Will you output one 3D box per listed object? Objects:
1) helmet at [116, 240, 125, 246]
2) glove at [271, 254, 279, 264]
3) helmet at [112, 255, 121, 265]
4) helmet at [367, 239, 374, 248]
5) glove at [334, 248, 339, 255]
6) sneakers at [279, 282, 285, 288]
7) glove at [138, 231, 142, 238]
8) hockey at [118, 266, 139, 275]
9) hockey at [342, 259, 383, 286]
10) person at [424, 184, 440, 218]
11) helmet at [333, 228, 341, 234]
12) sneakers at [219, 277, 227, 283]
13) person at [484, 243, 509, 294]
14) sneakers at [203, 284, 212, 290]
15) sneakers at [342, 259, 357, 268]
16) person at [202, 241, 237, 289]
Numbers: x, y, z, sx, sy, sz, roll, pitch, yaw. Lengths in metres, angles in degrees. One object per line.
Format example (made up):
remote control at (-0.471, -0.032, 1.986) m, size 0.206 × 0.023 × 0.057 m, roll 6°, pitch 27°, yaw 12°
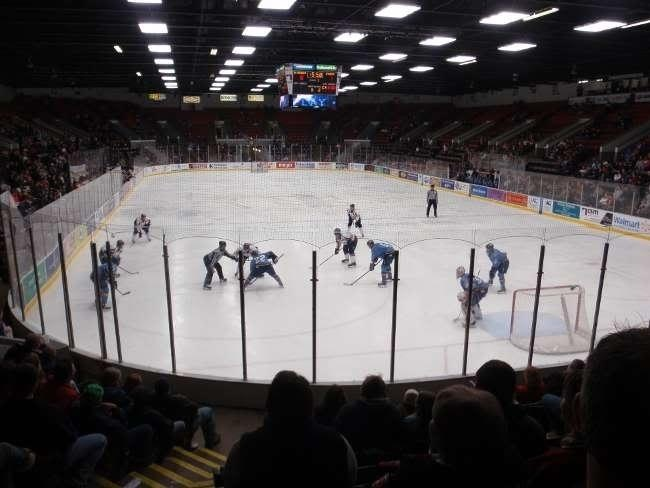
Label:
helmet at (-5.964, -0.021, 16.131) m, size 0.152 × 0.177 × 0.215 m, roll 0°, pitch 24°, yaw -3°
glove at (-1.301, 0.399, 14.606) m, size 0.164 × 0.106 × 0.232 m, roll 9°, pitch 52°, yaw 0°
helmet at (-5.367, 0.405, 14.222) m, size 0.161 × 0.214 × 0.225 m, roll 44°, pitch 7°, yaw -30°
helmet at (1.311, -0.004, 15.691) m, size 0.162 × 0.191 × 0.210 m, roll 4°, pitch 17°, yaw 4°
glove at (0.362, 0.214, 16.377) m, size 0.089 × 0.116 × 0.291 m, roll 1°, pitch 16°, yaw 4°
sneakers at (-1.144, 1.107, 14.823) m, size 0.140 × 0.143 × 0.105 m, roll -1°, pitch 19°, yaw -1°
glove at (-6.581, -0.352, 19.717) m, size 0.073 × 0.312 × 0.207 m, roll 11°, pitch 40°, yaw 1°
hockey at (-5.757, 0.768, 16.264) m, size 0.505 × 0.129 × 0.809 m, roll 1°, pitch 7°, yaw -23°
hockey at (1.079, 0.872, 16.239) m, size 0.469 × 0.508 × 1.944 m, roll 24°, pitch 24°, yaw 28°
person at (5.219, -2.049, 26.462) m, size 0.544 × 1.555 × 2.717 m, roll 5°, pitch 7°, yaw 11°
helmet at (0.399, -0.384, 16.802) m, size 0.184 × 0.105 × 0.230 m, roll 1°, pitch 7°, yaw 9°
sneakers at (-2.830, 0.971, 15.455) m, size 0.095 × 0.166 × 0.268 m, roll 7°, pitch 26°, yaw 14°
person at (4.800, 0.743, 15.453) m, size 0.741 × 1.305 × 0.641 m, roll -5°, pitch 39°, yaw 14°
sneakers at (-3.151, 1.137, 14.857) m, size 0.214 × 0.136 × 0.105 m, roll -2°, pitch 14°, yaw -8°
sneakers at (0.790, 0.593, 17.532) m, size 0.181 × 0.266 × 0.554 m, roll -8°, pitch 25°, yaw -24°
person at (-2.854, 0.534, 15.038) m, size 0.910 × 1.287 × 0.676 m, roll -8°, pitch 22°, yaw -28°
